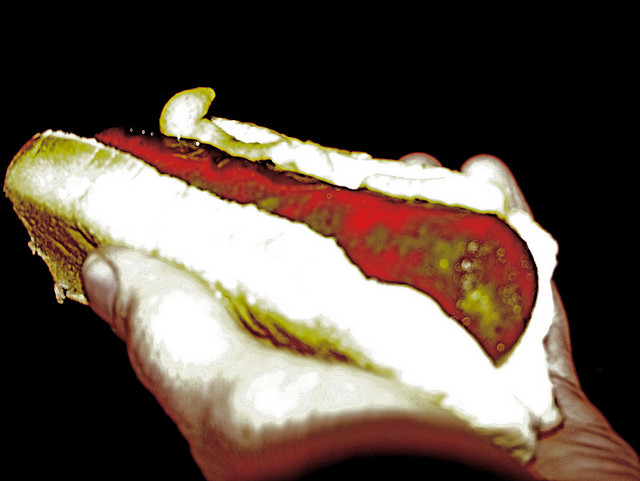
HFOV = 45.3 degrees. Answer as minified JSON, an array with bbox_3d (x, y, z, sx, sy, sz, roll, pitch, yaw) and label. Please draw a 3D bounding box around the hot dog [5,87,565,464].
[{"bbox_3d":[-0.089,0.011,1.947,1.236,0.563,0.721,28,36,6],"label":"hot dog"}]
